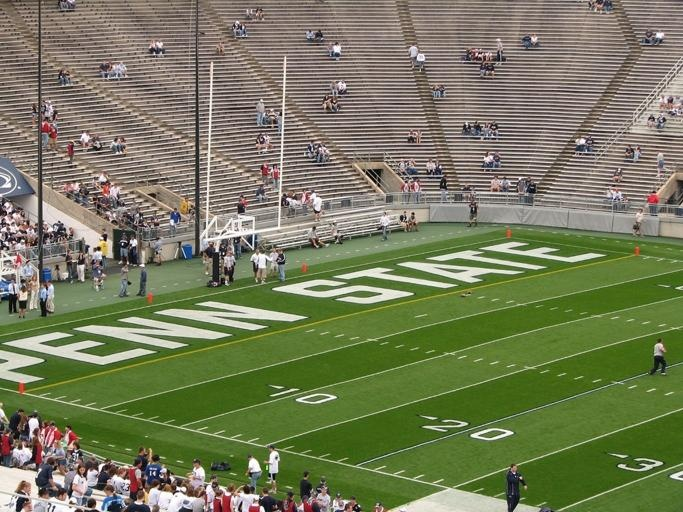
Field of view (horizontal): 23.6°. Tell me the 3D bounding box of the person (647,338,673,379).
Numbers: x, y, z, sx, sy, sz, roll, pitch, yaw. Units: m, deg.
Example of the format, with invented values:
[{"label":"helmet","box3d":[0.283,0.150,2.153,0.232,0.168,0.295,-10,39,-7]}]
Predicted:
[{"label":"person","box3d":[13.551,4.391,69.118,1.089,1.949,0.904,-20,28,-28]}]
